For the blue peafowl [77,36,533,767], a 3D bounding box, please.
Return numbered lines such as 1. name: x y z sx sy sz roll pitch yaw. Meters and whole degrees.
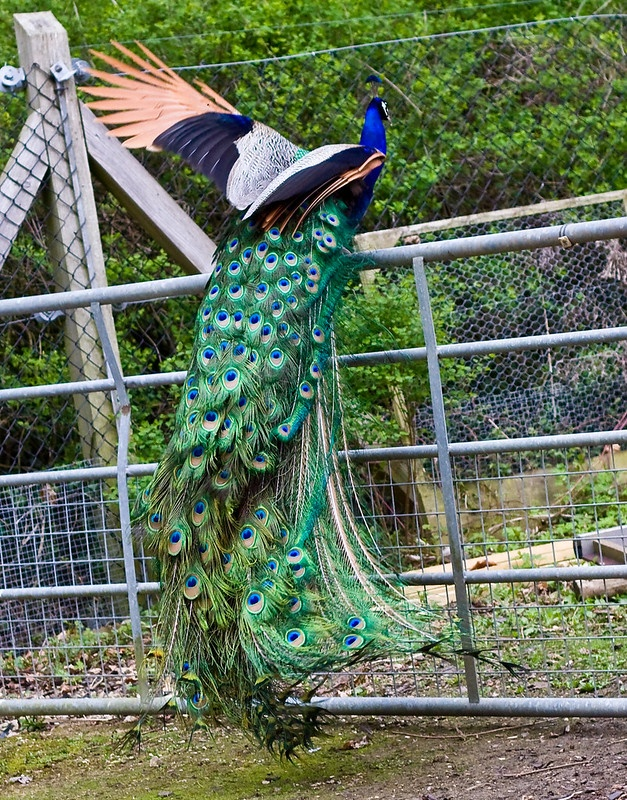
1. blue peafowl: -0.180 -0.121 5.457 1.067 2.461 1.483 -9 -1 3
